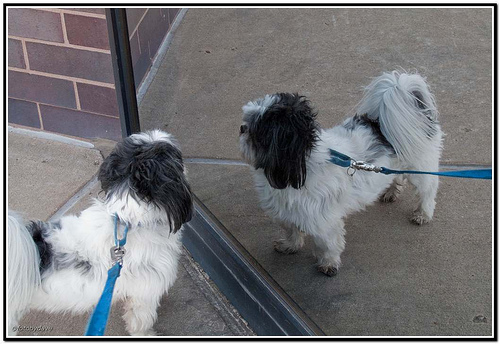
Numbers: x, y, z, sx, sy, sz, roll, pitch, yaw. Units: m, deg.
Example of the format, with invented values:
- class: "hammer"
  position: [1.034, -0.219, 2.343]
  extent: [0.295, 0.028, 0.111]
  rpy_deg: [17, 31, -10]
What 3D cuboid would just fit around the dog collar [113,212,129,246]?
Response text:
- class: "dog collar"
  position: [-0.620, 0.272, 2.331]
  extent: [0.099, 0.136, 0.036]
  rpy_deg: [5, -12, -5]
